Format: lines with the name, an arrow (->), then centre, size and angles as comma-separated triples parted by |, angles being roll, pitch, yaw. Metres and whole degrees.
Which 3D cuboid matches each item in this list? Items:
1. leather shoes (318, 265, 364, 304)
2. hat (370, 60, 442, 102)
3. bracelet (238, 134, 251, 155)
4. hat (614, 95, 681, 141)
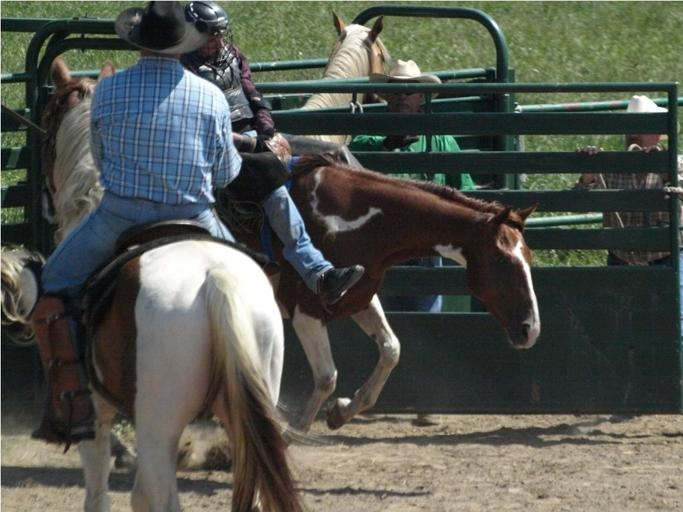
leather shoes -> -0.013, 0.277, 13.381 | 0.273, 0.200, 0.628 | 0, -27, -36
hat -> 0.674, -2.041, 16.040 | 0.594, 0.251, 0.669 | 1, -19, 2
bracelet -> -0.892, -1.048, 13.503 | 0.062, 0.144, 0.270 | -7, 20, -12
hat -> 3.258, -1.468, 15.896 | 0.593, 0.235, 0.671 | -2, 18, 22
